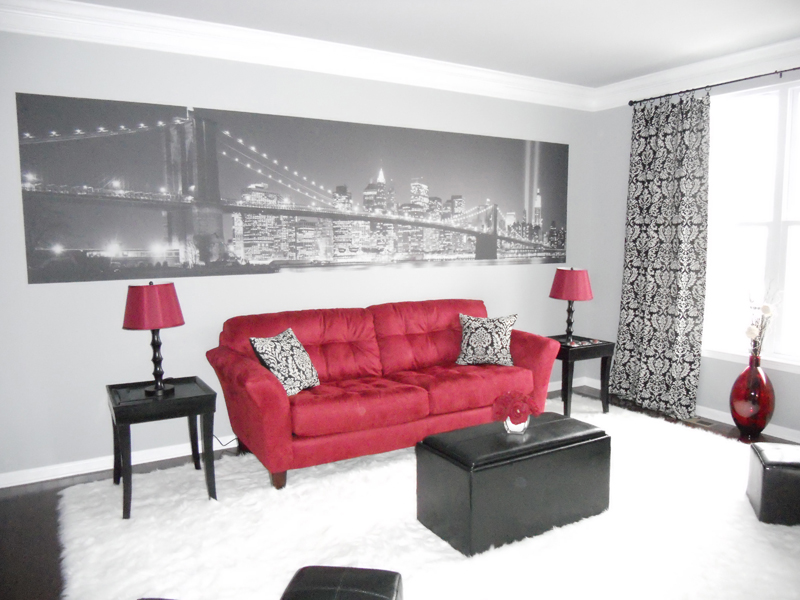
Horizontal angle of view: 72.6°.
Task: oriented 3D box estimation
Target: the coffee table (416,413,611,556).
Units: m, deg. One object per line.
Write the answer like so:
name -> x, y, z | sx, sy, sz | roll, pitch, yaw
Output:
coffee table -> 0.731, 1.142, 3.540 | 1.205, 0.572, 0.512 | -6, 13, -23

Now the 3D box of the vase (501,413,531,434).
vase -> 0.752, 0.791, 3.512 | 0.114, 0.135, 0.150 | 0, -3, 5

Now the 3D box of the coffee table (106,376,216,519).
coffee table -> -1.720, 1.019, 3.941 | 0.744, 0.799, 0.795 | -1, 5, -16

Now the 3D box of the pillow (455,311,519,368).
pillow -> 0.770, 0.372, 4.916 | 0.429, 0.420, 0.168 | 0, -19, 7

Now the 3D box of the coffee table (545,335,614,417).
coffee table -> 1.798, 0.747, 5.375 | 0.514, 0.570, 0.439 | -3, 0, -9

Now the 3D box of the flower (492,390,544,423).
flower -> 0.772, 0.687, 3.504 | 0.177, 0.132, 0.243 | -10, -26, 30
